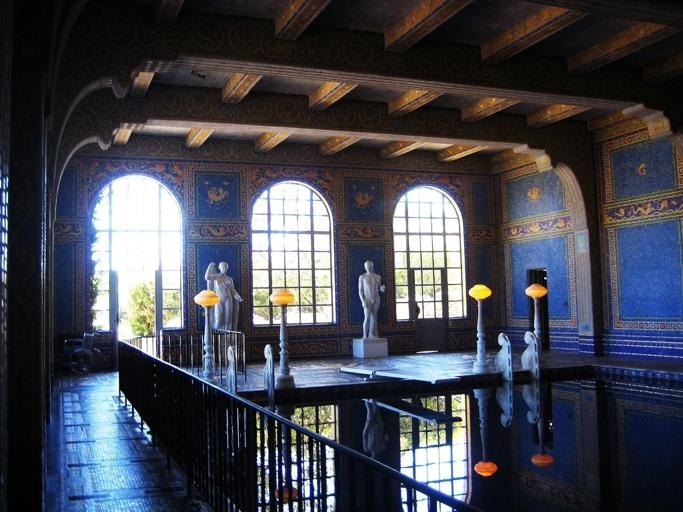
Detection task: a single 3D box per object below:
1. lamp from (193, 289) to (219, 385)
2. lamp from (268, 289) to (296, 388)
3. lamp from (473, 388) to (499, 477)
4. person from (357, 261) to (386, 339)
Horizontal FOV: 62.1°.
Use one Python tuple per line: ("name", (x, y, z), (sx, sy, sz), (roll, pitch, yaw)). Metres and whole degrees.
("lamp", (-2.368, 1.461, 10.070), (0.535, 1.657, 0.532), (1, -5, -44))
("lamp", (-0.992, 1.425, 9.814), (0.491, 1.638, 0.509), (-3, -8, 6))
("lamp", (1.924, 2.347, 7.661), (0.367, 1.171, 0.360), (-11, -14, 38))
("person", (0.791, 1.193, 15.219), (0.645, 1.815, 0.434), (1, 0, 0))
